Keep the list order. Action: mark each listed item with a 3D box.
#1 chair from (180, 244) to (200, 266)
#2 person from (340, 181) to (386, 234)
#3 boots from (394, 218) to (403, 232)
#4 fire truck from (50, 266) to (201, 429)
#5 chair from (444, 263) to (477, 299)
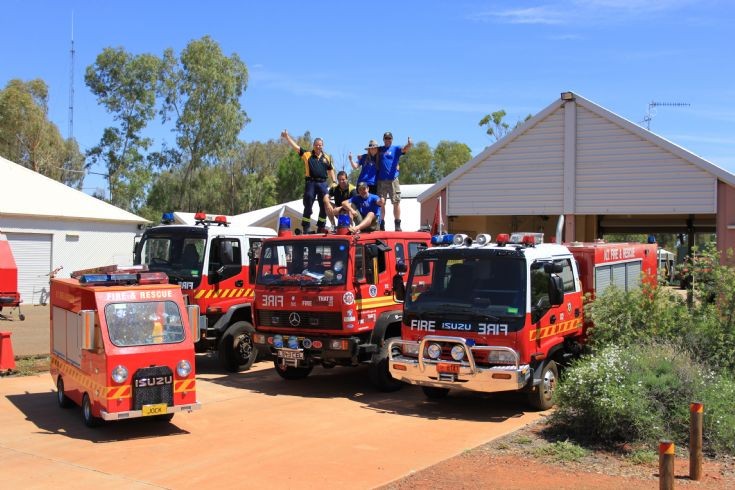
[{"bbox_3d":[-4.622,0.236,18.352,0.489,0.547,0.524,3,-2,9],"label":"chair"},{"bbox_3d":[-0.127,-0.972,18.153,1.040,1.542,1.472,4,1,9],"label":"person"},{"bbox_3d":[0.800,-0.532,18.569,0.169,0.365,0.371,0,-10,-2],"label":"boots"},{"bbox_3d":[-5.309,1.993,15.130,2.178,3.062,3.865,-1,3,-42],"label":"fire truck"},{"bbox_3d":[2.136,0.783,15.315,0.578,0.878,0.730,-1,-11,16],"label":"chair"}]
